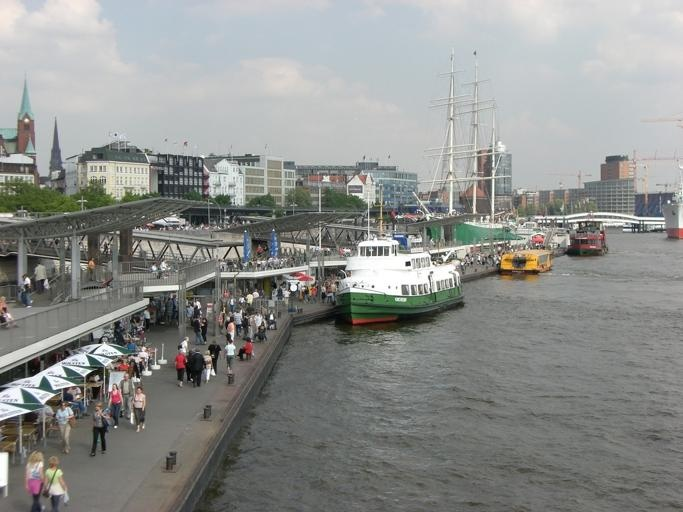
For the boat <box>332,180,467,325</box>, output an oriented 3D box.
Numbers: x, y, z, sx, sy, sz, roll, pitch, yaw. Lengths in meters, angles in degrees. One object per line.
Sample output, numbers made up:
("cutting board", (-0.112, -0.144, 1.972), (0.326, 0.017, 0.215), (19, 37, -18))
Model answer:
("boat", (4.799, 1.492, 71.674), (6.532, 6.190, 17.532), (7, 9, 31))
